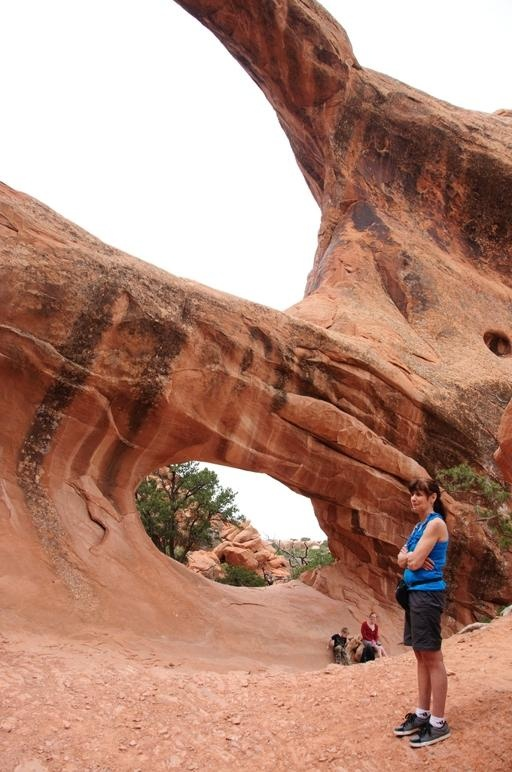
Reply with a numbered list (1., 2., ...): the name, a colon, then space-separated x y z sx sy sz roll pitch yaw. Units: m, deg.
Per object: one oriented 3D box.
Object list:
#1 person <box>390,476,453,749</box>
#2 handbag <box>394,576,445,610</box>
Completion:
1. person: 1.037 1.397 4.669 0.429 1.582 0.466 -5 -4 13
2. handbag: 1.027 1.308 4.672 0.262 0.115 0.146 4 -61 4
